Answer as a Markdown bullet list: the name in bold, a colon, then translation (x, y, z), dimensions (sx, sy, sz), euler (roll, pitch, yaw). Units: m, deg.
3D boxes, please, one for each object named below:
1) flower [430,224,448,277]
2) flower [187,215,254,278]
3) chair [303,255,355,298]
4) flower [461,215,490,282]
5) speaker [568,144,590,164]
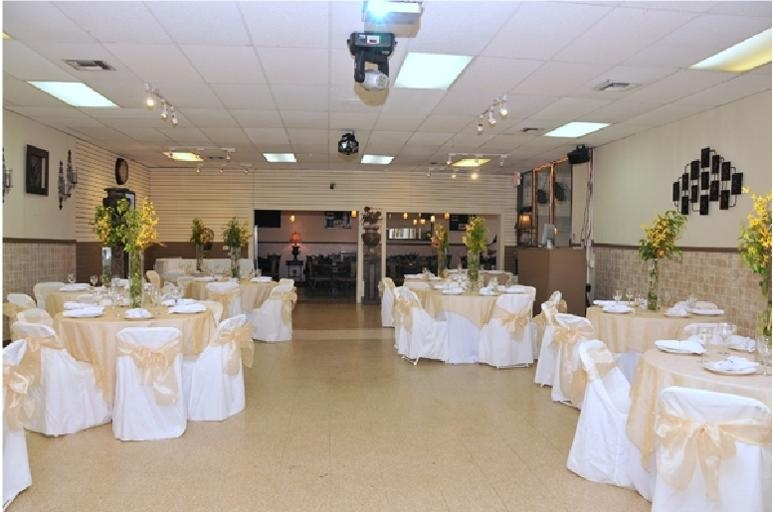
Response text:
- **flower**: translation (1.277, -0.230, 12.539), dimensions (0.432, 1.494, 0.400), euler (-13, 29, -21)
- **flower**: translation (-4.085, -0.247, 12.975), dimensions (1.625, 1.560, 0.856), euler (1, -2, -14)
- **chair**: translation (-1.642, 0.577, 16.422), dimensions (1.323, 1.062, 1.387), euler (0, -1, 10)
- **flower**: translation (1.548, -0.084, 9.506), dimensions (0.391, 1.174, 0.427), euler (1, 11, 7)
- **speaker**: translation (4.203, -2.188, 11.799), dimensions (0.369, 0.369, 0.371), euler (-34, 14, -21)
